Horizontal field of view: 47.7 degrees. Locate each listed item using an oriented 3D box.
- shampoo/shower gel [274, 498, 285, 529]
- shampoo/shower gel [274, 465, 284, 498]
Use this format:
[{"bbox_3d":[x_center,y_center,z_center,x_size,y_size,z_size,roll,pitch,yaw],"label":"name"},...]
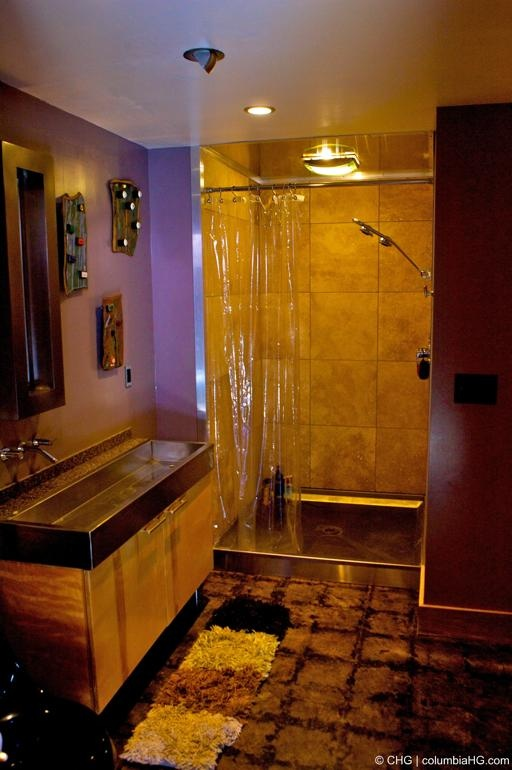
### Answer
[{"bbox_3d":[0.131,0.732,3.319,0.062,0.183,0.043,1,4,5],"label":"shampoo/shower gel"},{"bbox_3d":[0.129,0.553,3.274,0.063,0.184,0.033,1,4,8],"label":"shampoo/shower gel"}]
